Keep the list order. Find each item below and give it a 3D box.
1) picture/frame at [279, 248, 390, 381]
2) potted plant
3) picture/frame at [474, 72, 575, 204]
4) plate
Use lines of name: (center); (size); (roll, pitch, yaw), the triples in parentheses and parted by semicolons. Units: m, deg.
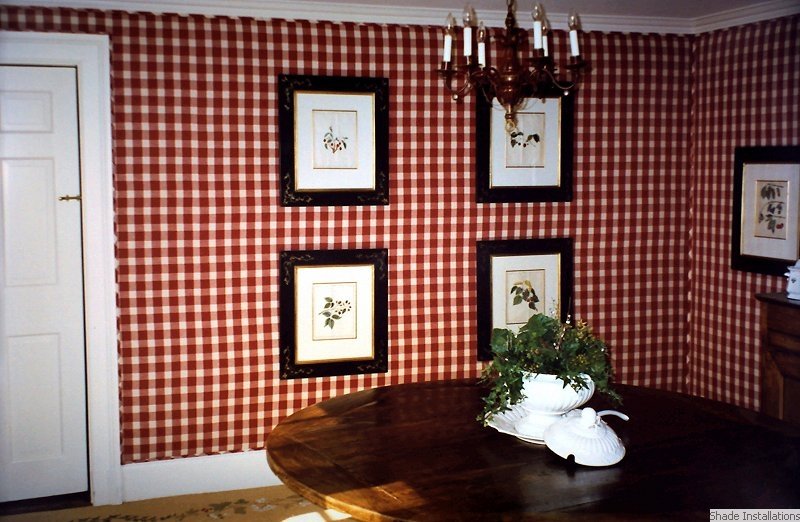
picture/frame: (-0.513, 0.360, 4.731); (1.009, 1.064, 0.088); (-1, 3, -15)
potted plant: (0.735, 0.587, 3.493); (0.654, 0.485, 0.704); (6, -8, -33)
picture/frame: (0.868, -0.898, 4.718); (1.053, 1.045, 0.091); (0, 4, -7)
plate: (0.697, 0.860, 3.443); (0.363, 0.047, 0.339); (0, -1, -20)
